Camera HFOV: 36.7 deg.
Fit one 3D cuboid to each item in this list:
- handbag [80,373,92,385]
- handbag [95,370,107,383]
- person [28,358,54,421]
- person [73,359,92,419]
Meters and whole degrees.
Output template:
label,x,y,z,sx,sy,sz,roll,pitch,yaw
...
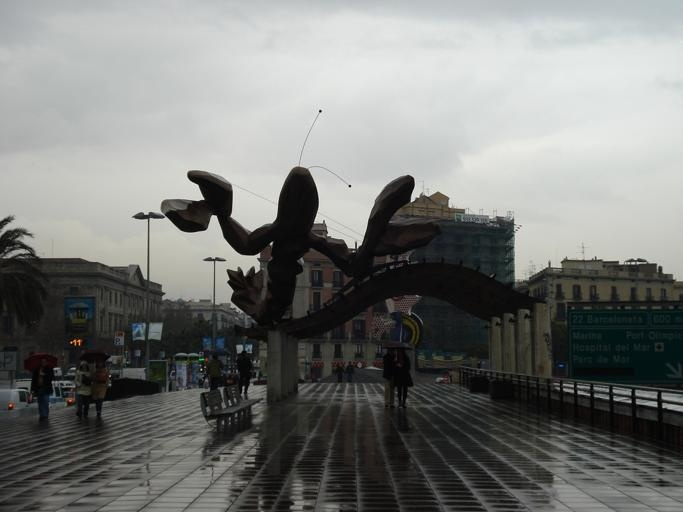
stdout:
label,x,y,z,sx,sy,sz,roll,pitch,yaw
handbag,-8.110,3.890,32.624,0.374,0.393,0.258,6,-10,-38
handbag,-7.719,3.879,33.035,0.382,0.382,0.388,-1,1,-4
person,-9.482,4.150,32.538,0.651,2.017,1.284,2,-8,-15
person,-8.283,4.243,32.962,0.517,1.841,1.498,2,-8,-14
